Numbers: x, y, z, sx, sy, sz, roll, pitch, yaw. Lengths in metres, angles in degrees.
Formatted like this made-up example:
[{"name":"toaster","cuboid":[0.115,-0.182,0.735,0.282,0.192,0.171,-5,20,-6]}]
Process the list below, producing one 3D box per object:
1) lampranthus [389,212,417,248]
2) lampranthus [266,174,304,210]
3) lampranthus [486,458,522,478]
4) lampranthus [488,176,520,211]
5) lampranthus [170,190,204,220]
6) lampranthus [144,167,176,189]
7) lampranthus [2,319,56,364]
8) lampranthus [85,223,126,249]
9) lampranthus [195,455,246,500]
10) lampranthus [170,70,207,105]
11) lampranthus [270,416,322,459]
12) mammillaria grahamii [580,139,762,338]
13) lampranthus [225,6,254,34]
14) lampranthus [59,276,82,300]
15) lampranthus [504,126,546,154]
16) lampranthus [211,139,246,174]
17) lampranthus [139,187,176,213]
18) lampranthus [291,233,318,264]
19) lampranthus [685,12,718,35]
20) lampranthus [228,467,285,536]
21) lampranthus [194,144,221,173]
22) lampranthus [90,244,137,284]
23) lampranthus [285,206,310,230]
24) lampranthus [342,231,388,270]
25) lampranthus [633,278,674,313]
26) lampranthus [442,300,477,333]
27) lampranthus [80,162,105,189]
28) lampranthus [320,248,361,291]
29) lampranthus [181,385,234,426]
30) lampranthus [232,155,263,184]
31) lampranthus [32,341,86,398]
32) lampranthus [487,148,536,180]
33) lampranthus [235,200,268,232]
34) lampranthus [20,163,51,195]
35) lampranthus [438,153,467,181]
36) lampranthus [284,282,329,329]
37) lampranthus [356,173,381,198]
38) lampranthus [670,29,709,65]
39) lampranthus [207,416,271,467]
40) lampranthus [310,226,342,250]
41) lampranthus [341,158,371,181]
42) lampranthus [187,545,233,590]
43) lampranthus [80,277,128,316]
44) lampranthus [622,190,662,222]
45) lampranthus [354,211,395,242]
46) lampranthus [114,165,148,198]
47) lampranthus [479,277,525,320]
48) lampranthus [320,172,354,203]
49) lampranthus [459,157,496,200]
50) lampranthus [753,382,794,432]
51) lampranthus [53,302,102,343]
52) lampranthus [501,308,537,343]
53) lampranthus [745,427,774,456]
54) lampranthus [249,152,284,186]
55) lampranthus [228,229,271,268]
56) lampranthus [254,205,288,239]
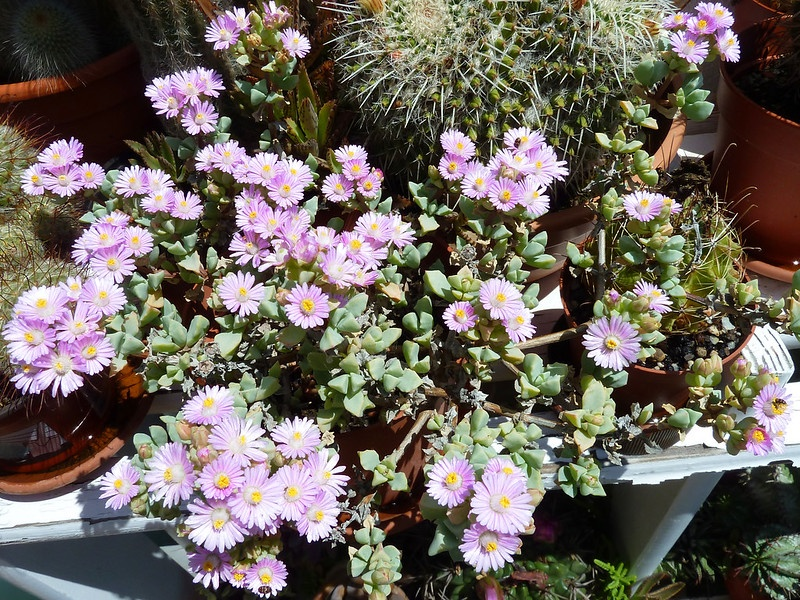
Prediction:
[{"name":"lampranthus","cuboid":[0.003,-0.098,0.936,0.041,0.020,0.045,-6,76,-51]},{"name":"lampranthus","cuboid":[-0.166,-0.161,0.953,0.053,0.026,0.048,40,74,13]},{"name":"lampranthus","cuboid":[0.130,0.209,0.822,0.030,0.011,0.029,-22,46,-37]},{"name":"lampranthus","cuboid":[0.147,-0.150,0.925,0.046,0.025,0.043,-25,71,-10]},{"name":"lampranthus","cuboid":[-0.314,-0.139,0.968,0.041,0.019,0.043,-17,73,-27]},{"name":"lampranthus","cuboid":[-0.362,-0.183,0.979,0.033,0.015,0.035,28,40,10]},{"name":"lampranthus","cuboid":[-0.483,0.057,0.865,0.063,0.041,0.055,4,69,1]},{"name":"lampranthus","cuboid":[-0.416,-0.092,0.929,0.040,0.015,0.041,-35,69,-22]},{"name":"lampranthus","cuboid":[-0.218,0.222,0.803,0.050,0.051,0.022,14,81,-12]},{"name":"lampranthus","cuboid":[-0.322,-0.330,0.999,0.042,0.022,0.059,-29,72,-11]},{"name":"lampranthus","cuboid":[-0.129,0.181,0.846,0.074,0.074,0.030,5,97,13]},{"name":"mammillaria grahamii","cuboid":[0.402,-0.029,1.051,0.220,0.366,0.197,3,32,-7]},{"name":"lampranthus","cuboid":[-0.249,-0.443,1.025,0.017,0.045,0.048,-14,72,33]},{"name":"lampranthus","cuboid":[-0.457,-0.017,0.912,0.030,0.012,0.032,28,72,-10]},{"name":"lampranthus","cuboid":[0.193,-0.232,0.976,0.045,0.019,0.048,-2,37,2]},{"name":"lampranthus","cuboid":[-0.255,-0.216,0.990,0.046,0.022,0.049,24,74,9]},{"name":"lampranthus","cuboid":[-0.353,-0.146,0.961,0.036,0.017,0.040,15,66,27]},{"name":"lampranthus","cuboid":[-0.120,-0.065,0.848,0.028,0.025,0.038,2,68,14]},{"name":"lampranthus","cuboid":[0.434,-0.397,0.942,0.029,0.014,0.031,-12,59,5]},{"name":"lampranthus","cuboid":[-0.176,0.249,0.801,0.069,0.029,0.072,-28,87,-16]},{"name":"lampranthus","cuboid":[-0.290,-0.213,0.985,0.037,0.016,0.039,35,103,30]},{"name":"lampranthus","cuboid":[-0.413,-0.064,0.931,0.055,0.057,0.024,-19,86,-3]},{"name":"lampranthus","cuboid":[-0.141,-0.112,0.926,0.036,0.015,0.039,14,45,5]},{"name":"lampranthus","cuboid":[-0.048,-0.068,0.902,0.053,0.021,0.055,-3,57,-49]},{"name":"lampranthus","cuboid":[0.354,-0.007,0.913,0.044,0.020,0.046,10,54,-37]},{"name":"lampranthus","cuboid":[0.083,0.022,0.897,0.043,0.027,0.044,-25,71,-10]},{"name":"lampranthus","cuboid":[-0.473,-0.192,1.008,0.038,0.015,0.041,-1,75,-22]},{"name":"lampranthus","cuboid":[-0.078,-0.045,0.853,0.052,0.025,0.049,42,74,14]},{"name":"lampranthus","cuboid":[-0.247,0.139,0.855,0.060,0.065,0.028,3,110,-4]},{"name":"lampranthus","cuboid":[-0.225,-0.188,0.961,0.039,0.019,0.042,-10,64,12]},{"name":"lampranthus","cuboid":[-0.449,0.093,0.862,0.064,0.027,0.070,0,80,-10]},{"name":"lampranthus","cuboid":[0.150,-0.191,0.931,0.047,0.024,0.048,39,78,27]},{"name":"lampranthus","cuboid":[-0.208,-0.121,0.917,0.044,0.018,0.044,39,70,24]},{"name":"lampranthus","cuboid":[-0.557,-0.177,1.000,0.047,0.023,0.052,-1,102,16]},{"name":"lampranthus","cuboid":[0.080,-0.197,0.970,0.045,0.018,0.050,-3,83,0]},{"name":"lampranthus","cuboid":[-0.116,0.014,0.845,0.054,0.060,0.055,24,70,9]},{"name":"lampranthus","cuboid":[-0.043,-0.175,0.990,0.035,0.015,0.037,-3,75,5]},{"name":"lampranthus","cuboid":[0.416,-0.363,0.948,0.046,0.020,0.049,21,84,-9]},{"name":"lampranthus","cuboid":[-0.202,0.177,0.832,0.062,0.062,0.024,49,117,4]},{"name":"lampranthus","cuboid":[-0.099,-0.093,0.881,0.034,0.016,0.035,31,33,12]},{"name":"lampranthus","cuboid":[-0.064,-0.197,0.984,0.032,0.012,0.033,-24,64,-11]},{"name":"lampranthus","cuboid":[-0.247,0.345,0.863,0.056,0.055,0.025,50,44,-8]},{"name":"lampranthus","cuboid":[-0.402,0.001,0.887,0.052,0.050,0.019,-19,108,-47]},{"name":"lampranthus","cuboid":[0.348,-0.136,0.931,0.045,0.018,0.044,-43,64,-6]},{"name":"lampranthus","cuboid":[-0.033,-0.104,0.920,0.041,0.018,0.044,-9,72,-15]},{"name":"lampranthus","cuboid":[-0.397,-0.176,0.975,0.045,0.021,0.050,2,79,8]},{"name":"lampranthus","cuboid":[0.138,0.001,0.885,0.061,0.032,0.055,4,69,1]},{"name":"lampranthus","cuboid":[-0.095,-0.169,0.993,0.040,0.017,0.044,-20,95,8]},{"name":"lampranthus","cuboid":[0.117,-0.166,0.938,0.046,0.049,0.020,-25,94,16]},{"name":"lampranthus","cuboid":[0.502,0.144,0.883,0.064,0.024,0.063,32,74,-22]},{"name":"lampranthus","cuboid":[-0.432,0.023,0.878,0.043,0.046,0.020,13,84,-11]},{"name":"lampranthus","cuboid":[0.163,0.036,0.886,0.045,0.019,0.048,21,82,-11]},{"name":"lampranthus","cuboid":[0.484,0.190,0.883,0.033,0.013,0.037,3,88,10]},{"name":"lampranthus","cuboid":[-0.201,-0.193,0.960,0.044,0.018,0.048,2,60,7]},{"name":"lampranthus","cuboid":[-0.208,-0.065,0.913,0.055,0.027,0.054,-8,27,-21]},{"name":"lampranthus","cuboid":[-0.180,-0.109,0.906,0.040,0.017,0.041,-21,59,8]}]
